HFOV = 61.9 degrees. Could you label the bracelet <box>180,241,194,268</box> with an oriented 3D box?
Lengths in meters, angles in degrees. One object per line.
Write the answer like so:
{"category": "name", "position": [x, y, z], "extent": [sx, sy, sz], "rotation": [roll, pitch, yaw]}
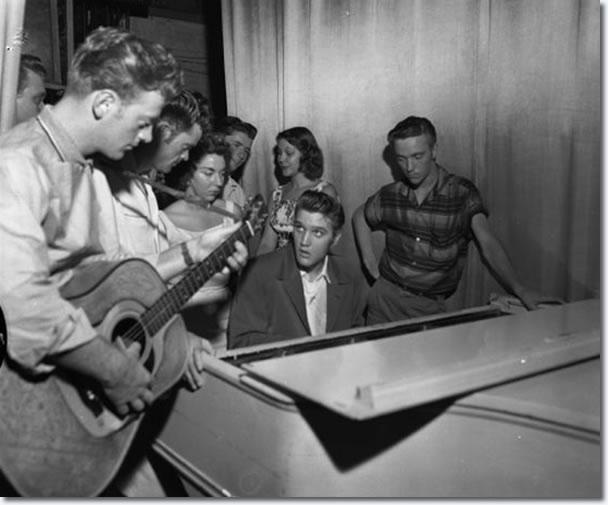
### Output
{"category": "bracelet", "position": [-0.313, 0.010, 1.384], "extent": [0.039, 0.065, 0.021], "rotation": [-7, -6, -23]}

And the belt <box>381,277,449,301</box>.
{"category": "belt", "position": [0.437, 0.156, 1.987], "extent": [0.140, 0.037, 0.136], "rotation": [19, 10, -11]}
